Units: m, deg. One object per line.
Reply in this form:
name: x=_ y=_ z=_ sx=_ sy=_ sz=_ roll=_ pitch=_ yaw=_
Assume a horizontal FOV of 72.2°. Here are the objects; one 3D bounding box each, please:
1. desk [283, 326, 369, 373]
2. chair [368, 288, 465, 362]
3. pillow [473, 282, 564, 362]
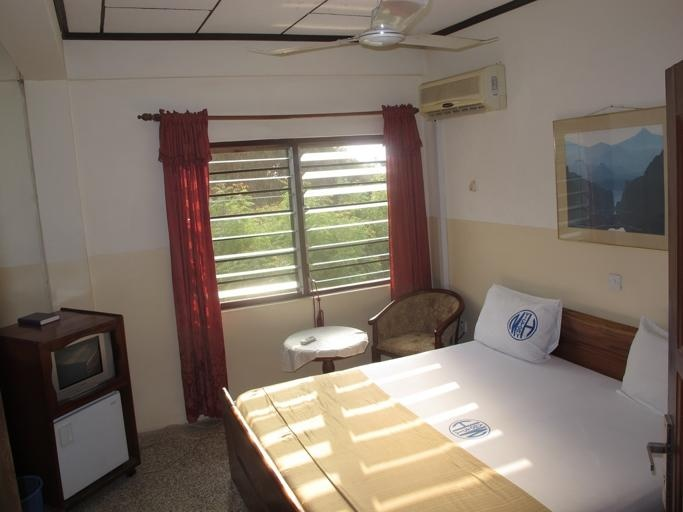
desk: x=-0.168 y=0.851 z=4.590 sx=0.533 sy=0.431 sz=0.551 roll=-3 pitch=14 yaw=-9
chair: x=0.808 y=0.735 z=5.230 sx=0.902 sy=1.096 sz=0.828 roll=4 pitch=6 yaw=34
pillow: x=1.628 y=0.620 z=4.268 sx=0.225 sy=0.466 sz=0.616 roll=6 pitch=1 yaw=-33
